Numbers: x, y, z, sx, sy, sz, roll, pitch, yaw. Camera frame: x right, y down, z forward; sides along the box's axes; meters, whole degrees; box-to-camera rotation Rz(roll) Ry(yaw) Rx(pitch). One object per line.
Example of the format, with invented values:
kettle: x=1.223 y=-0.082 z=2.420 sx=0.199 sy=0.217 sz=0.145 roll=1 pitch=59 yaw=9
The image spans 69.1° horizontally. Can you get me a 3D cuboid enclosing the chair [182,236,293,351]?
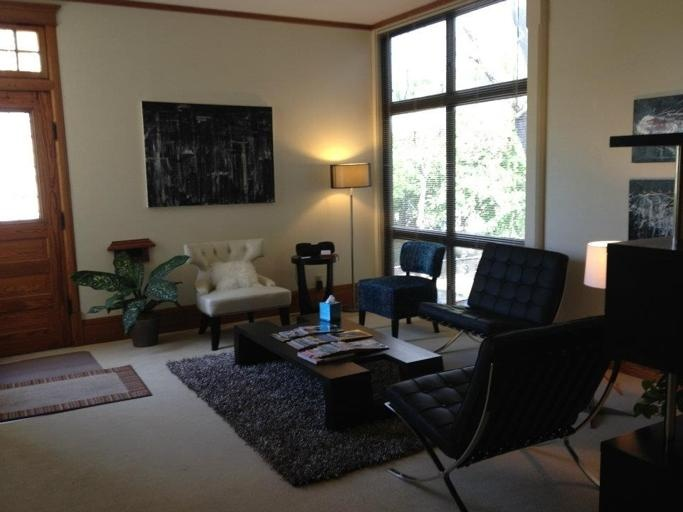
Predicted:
chair: x=-1.125 y=0.352 z=5.266 sx=0.924 sy=0.907 sz=1.009 roll=11 pitch=13 yaw=40

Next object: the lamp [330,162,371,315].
lamp: x=0.130 y=-0.258 z=6.021 sx=0.540 sy=1.679 sz=0.309 roll=1 pitch=-2 yaw=5

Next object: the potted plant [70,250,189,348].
potted plant: x=-2.062 y=0.474 z=4.945 sx=1.052 sy=0.790 sz=1.028 roll=-3 pitch=12 yaw=5

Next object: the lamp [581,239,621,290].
lamp: x=1.867 y=0.063 z=3.725 sx=0.273 sy=0.286 sz=0.269 roll=12 pitch=0 yaw=-42
